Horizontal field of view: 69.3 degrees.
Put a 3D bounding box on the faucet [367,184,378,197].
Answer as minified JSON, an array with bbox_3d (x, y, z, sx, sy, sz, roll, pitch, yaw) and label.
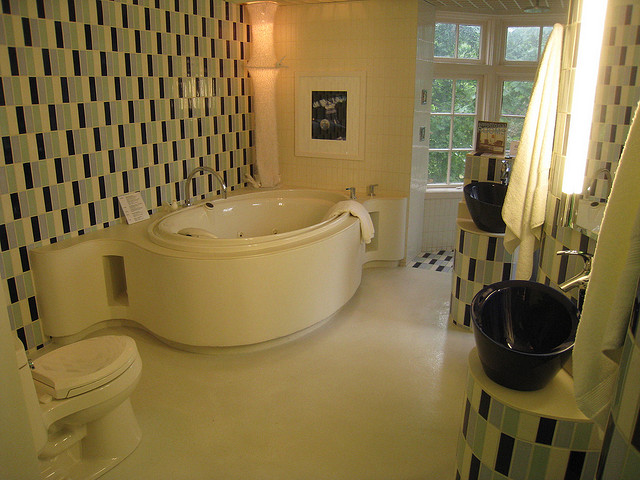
[{"bbox_3d":[0.540,-0.532,4.763,0.089,0.106,0.105,0,19,2],"label":"faucet"}]

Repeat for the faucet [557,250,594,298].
[{"bbox_3d":[1.083,0.155,1.964,0.172,0.246,0.064,1,20,-3],"label":"faucet"}]

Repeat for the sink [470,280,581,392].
[{"bbox_3d":[0.870,0.392,1.984,0.418,0.411,0.571,6,16,8],"label":"sink"}]

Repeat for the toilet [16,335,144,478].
[{"bbox_3d":[-1.187,0.847,2.311,0.371,0.809,0.515,25,33,38],"label":"toilet"}]

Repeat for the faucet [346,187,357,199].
[{"bbox_3d":[0.318,-0.490,4.722,0.114,0.119,0.086,10,25,20],"label":"faucet"}]

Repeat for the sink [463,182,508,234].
[{"bbox_3d":[1.253,-0.251,3.537,0.308,0.319,0.549,5,17,19],"label":"sink"}]
